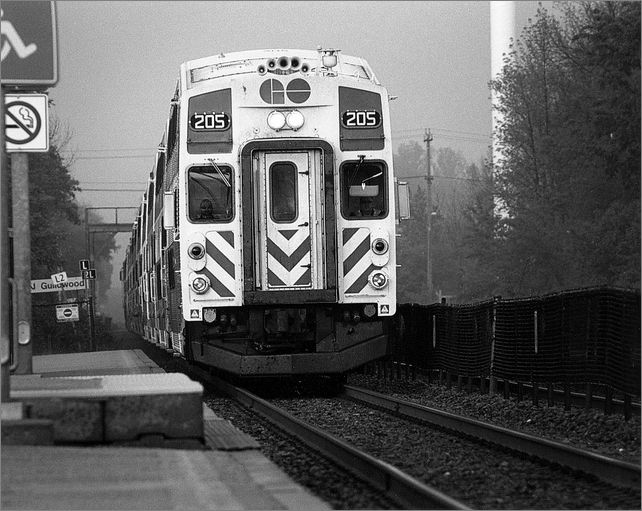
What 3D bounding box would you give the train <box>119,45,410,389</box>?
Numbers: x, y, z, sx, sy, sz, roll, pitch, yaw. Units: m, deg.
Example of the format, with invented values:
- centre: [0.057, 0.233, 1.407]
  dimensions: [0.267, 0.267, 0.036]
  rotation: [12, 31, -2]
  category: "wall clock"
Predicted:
- centre: [-0.946, -0.864, 13.062]
  dimensions: [5.024, 5.583, 2.670]
  rotation: [-2, 0, 14]
  category: "train"
